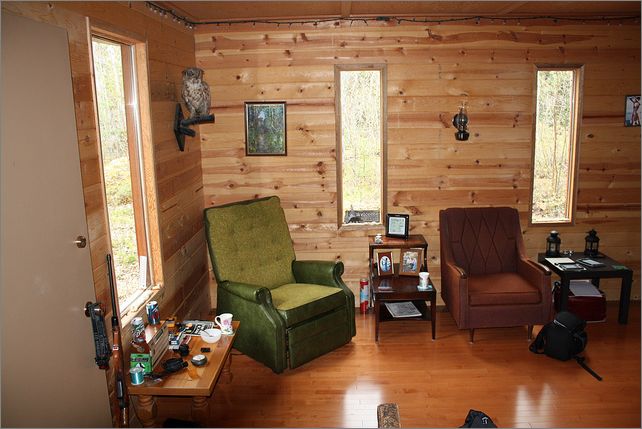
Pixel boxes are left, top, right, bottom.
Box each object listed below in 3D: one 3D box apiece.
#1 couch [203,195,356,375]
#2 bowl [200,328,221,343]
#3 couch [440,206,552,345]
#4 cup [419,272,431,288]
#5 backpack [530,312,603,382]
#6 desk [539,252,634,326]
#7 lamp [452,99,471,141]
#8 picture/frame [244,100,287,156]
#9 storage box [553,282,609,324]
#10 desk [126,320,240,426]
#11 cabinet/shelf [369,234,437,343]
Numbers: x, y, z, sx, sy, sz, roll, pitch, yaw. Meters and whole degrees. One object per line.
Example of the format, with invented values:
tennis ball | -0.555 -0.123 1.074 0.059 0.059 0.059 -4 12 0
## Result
couch | -0.440 0.657 4.988 1.408 1.341 1.396 -5 17 -30
bowl | -0.962 1.049 4.118 0.141 0.062 0.101 0 13 -5
couch | 1.877 0.607 5.251 1.069 1.084 1.057 -1 14 6
cup | 1.078 0.700 4.974 0.154 0.141 0.136 0 1 4
backpack | 2.384 1.267 4.623 0.648 0.421 0.275 17 36 34
desk | 2.978 0.874 5.446 0.896 0.602 0.867 -1 11 0
lamp | 1.589 -1.042 5.392 0.187 0.424 0.239 0 9 15
picture/frame | -0.644 -1.017 5.511 0.714 0.706 0.046 0 6 -3
storage box | 2.979 0.986 5.436 0.548 0.347 0.520 1 5 20
desk | -1.089 1.368 4.037 0.579 0.381 0.838 -1 7 1
cabinet/shelf | 0.902 0.804 5.313 0.701 1.046 0.846 -2 8 4
